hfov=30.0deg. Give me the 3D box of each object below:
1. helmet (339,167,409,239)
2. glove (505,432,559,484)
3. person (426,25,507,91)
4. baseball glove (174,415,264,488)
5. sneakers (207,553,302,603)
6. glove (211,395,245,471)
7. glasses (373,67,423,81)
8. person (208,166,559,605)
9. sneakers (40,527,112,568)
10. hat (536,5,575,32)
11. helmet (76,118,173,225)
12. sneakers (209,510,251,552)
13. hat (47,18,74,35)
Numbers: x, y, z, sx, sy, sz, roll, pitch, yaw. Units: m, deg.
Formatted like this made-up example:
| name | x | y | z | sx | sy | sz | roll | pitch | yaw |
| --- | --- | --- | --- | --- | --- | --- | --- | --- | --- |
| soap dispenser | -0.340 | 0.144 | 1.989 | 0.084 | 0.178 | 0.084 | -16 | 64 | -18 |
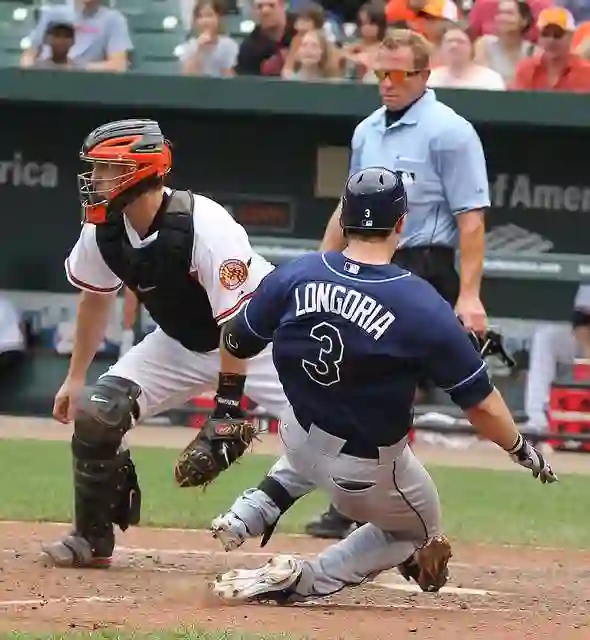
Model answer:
| name | x | y | z | sx | sy | sz | roll | pitch | yaw |
| --- | --- | --- | --- | --- | --- | --- | --- | --- | --- |
| helmet | 0.256 | -0.398 | 3.587 | 0.227 | 0.188 | 0.263 | 4 | 12 | 13 |
| glove | 0.712 | 0.432 | 3.590 | 0.267 | 0.064 | 0.120 | 25 | -1 | -31 |
| person | 1.062 | -1.664 | 7.061 | 0.448 | 0.481 | 0.969 | 2 | 29 | 10 |
| baseball glove | -0.283 | 0.466 | 3.837 | 0.201 | 0.272 | 0.139 | 45 | -14 | 1 |
| sneakers | -0.108 | 0.835 | 3.646 | 0.362 | 0.114 | 0.154 | 0 | 6 | 8 |
| glove | -0.233 | 0.378 | 3.767 | 0.099 | 0.214 | 0.174 | -8 | -9 | 7 |
| glasses | 0.405 | -0.994 | 4.468 | 0.204 | 0.053 | 0.070 | 6 | 1 | 23 |
| person | 0.307 | 0.274 | 3.746 | 1.229 | 1.467 | 0.764 | 14 | 14 | 23 |
| sneakers | -0.821 | 0.833 | 4.111 | 0.283 | 0.176 | 0.131 | 13 | -23 | -32 |
| hat | 1.633 | -1.893 | 6.904 | 0.207 | 0.160 | 0.311 | 6 | 2 | 8 |
| helmet | -0.608 | -0.539 | 4.012 | 0.383 | 0.332 | 0.314 | -8 | 13 | -14 |
| sneakers | -0.214 | 0.685 | 3.612 | 0.082 | 0.088 | 0.148 | 44 | -13 | 13 |
| hat | -1.616 | -2.019 | 7.602 | 0.190 | 0.091 | 0.251 | 0 | 6 | -9 |
